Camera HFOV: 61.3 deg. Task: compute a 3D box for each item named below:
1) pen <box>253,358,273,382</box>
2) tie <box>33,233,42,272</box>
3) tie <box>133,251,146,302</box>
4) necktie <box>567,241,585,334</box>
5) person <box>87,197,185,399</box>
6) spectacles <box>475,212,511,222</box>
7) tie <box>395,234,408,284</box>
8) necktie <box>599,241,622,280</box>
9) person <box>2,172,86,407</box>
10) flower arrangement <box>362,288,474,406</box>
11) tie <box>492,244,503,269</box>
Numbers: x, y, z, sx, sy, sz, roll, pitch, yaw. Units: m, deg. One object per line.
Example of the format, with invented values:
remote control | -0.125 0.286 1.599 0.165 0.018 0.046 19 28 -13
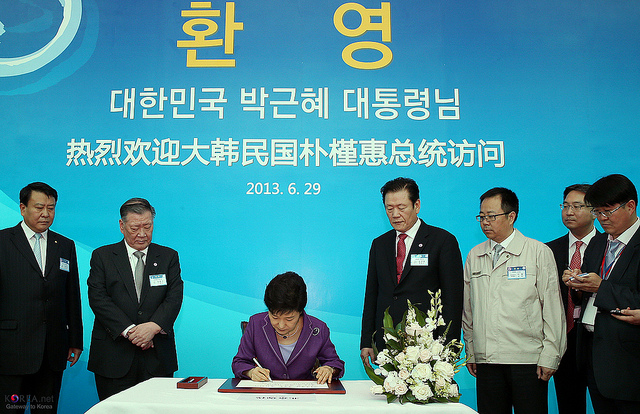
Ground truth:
pen | -0.458 1.310 4.359 0.174 0.019 0.018 41 -16 14
tie | -2.787 0.423 5.335 0.067 0.425 0.058 2 -17 -25
tie | -1.736 0.620 5.182 0.124 0.370 0.036 3 -16 -11
necktie | 2.492 0.772 5.270 0.249 0.882 0.101 4 -9 -36
person | -1.758 0.853 5.148 0.852 1.897 0.374 2 -8 -22
spectacles | 1.622 0.092 5.034 0.250 0.080 0.105 -8 -10 40
tie | 0.759 0.482 5.068 0.082 0.467 0.071 5 -26 7
necktie | 2.546 0.472 4.776 0.073 0.311 0.168 22 0 8
person | -2.741 0.868 5.334 0.753 2.205 0.297 3 -8 -26
flower arrangement | 0.713 1.091 4.016 0.581 0.499 0.294 8 -46 -35
tie | 1.661 0.455 5.063 0.057 0.252 0.038 18 -24 15
